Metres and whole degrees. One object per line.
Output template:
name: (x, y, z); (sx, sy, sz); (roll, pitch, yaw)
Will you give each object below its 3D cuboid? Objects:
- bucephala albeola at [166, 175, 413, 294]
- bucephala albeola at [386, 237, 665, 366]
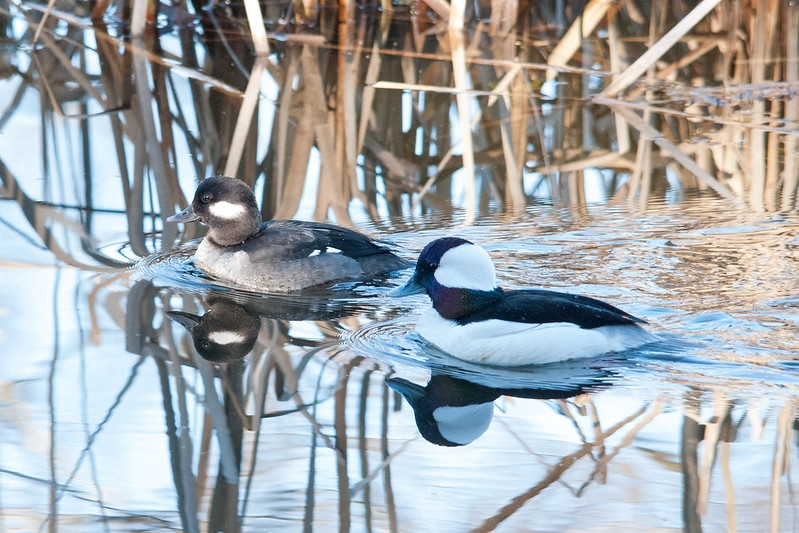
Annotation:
bucephala albeola: (-1.182, -0.319, 8.539); (2.026, 1.161, 0.582); (-1, -5, 18)
bucephala albeola: (1.159, 0.357, 7.183); (2.579, 0.778, 0.745); (6, 20, 12)
